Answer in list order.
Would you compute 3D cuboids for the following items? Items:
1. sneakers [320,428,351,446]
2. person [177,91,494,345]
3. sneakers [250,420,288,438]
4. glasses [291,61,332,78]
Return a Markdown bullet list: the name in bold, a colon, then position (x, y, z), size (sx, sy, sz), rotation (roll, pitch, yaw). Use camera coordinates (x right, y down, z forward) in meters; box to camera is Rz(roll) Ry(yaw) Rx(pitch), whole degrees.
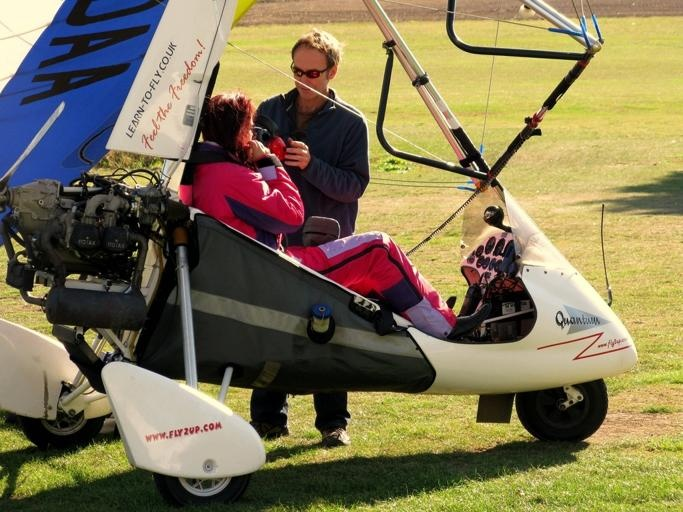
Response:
- **sneakers**: position (-0.026, 1.204, 5.839), size (0.194, 0.114, 0.123), rotation (11, 11, -3)
- **person**: position (-0.083, -0.178, 5.673), size (2.180, 1.150, 0.855), rotation (9, -7, -34)
- **sneakers**: position (-0.462, 1.185, 5.979), size (0.276, 0.103, 0.129), rotation (7, 12, -20)
- **glasses**: position (-0.220, -1.269, 6.020), size (0.264, 0.109, 0.127), rotation (11, 11, 1)
